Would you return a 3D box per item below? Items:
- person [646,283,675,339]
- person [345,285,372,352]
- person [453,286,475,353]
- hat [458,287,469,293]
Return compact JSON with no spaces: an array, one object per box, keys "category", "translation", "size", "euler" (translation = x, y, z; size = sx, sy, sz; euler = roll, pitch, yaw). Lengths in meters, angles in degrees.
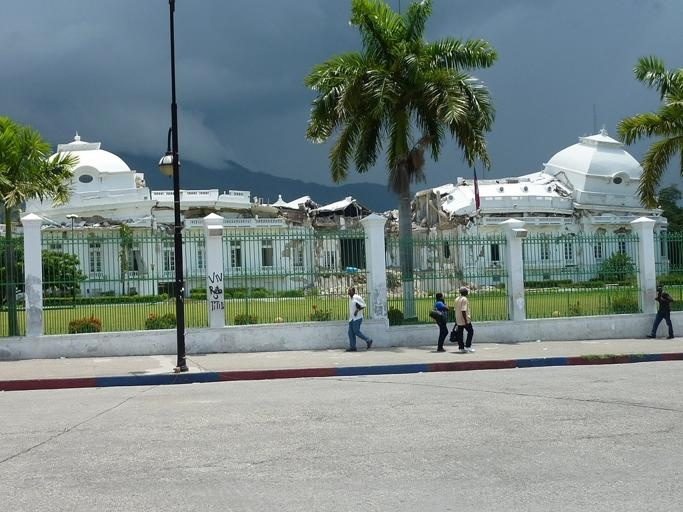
[{"category":"person","translation":[9.398,1.657,26.256],"size":[0.631,1.583,0.923],"euler":[0,4,2]},{"category":"person","translation":[0.473,1.722,24.335],"size":[0.658,1.715,0.862],"euler":[0,4,2]},{"category":"person","translation":[3.327,1.705,24.314],"size":[0.470,1.697,1.783],"euler":[0,4,8]},{"category":"hat","translation":[3.290,0.931,24.199],"size":[0.164,0.153,0.175],"euler":[1,-7,-3]}]
